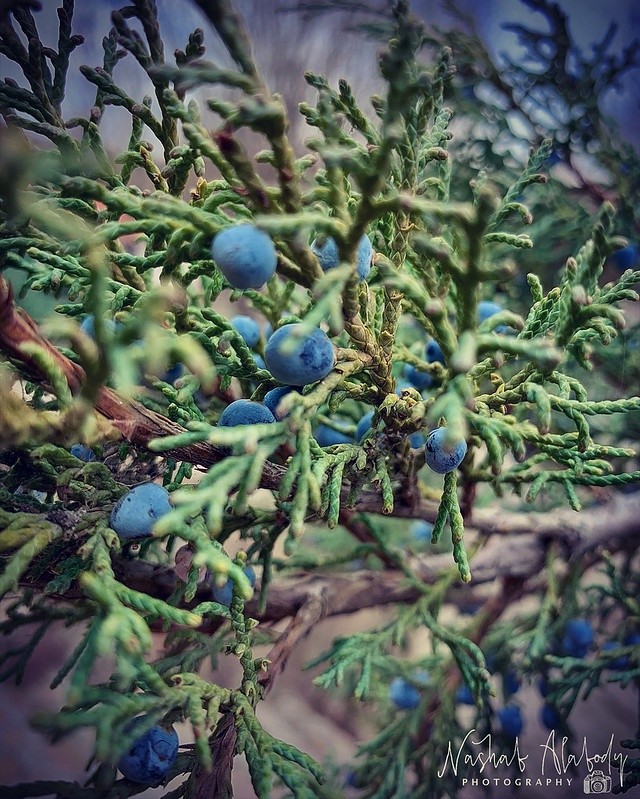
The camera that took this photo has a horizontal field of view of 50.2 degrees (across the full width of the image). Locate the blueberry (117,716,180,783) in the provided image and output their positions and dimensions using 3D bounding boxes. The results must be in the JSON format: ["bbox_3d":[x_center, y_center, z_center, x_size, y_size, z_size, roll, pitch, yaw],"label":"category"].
[{"bbox_3d":[-0.384,0.838,1.603,0.151,0.183,0.074,-23,46,-40],"label":"blueberry"}]
